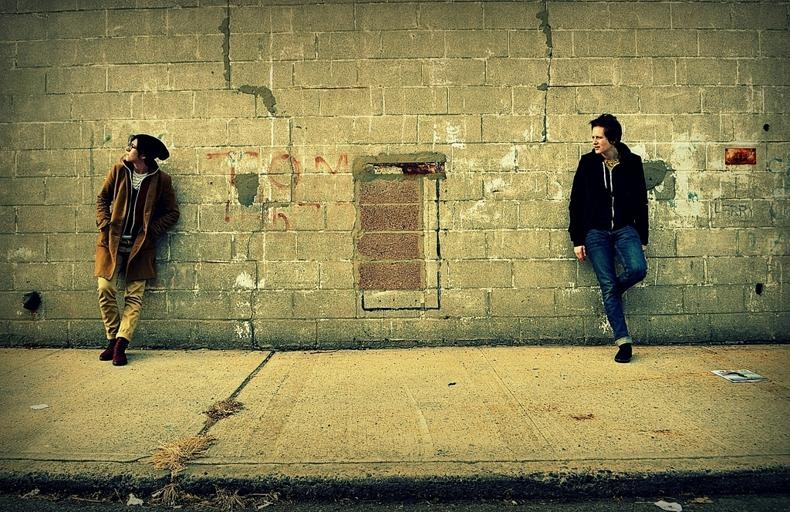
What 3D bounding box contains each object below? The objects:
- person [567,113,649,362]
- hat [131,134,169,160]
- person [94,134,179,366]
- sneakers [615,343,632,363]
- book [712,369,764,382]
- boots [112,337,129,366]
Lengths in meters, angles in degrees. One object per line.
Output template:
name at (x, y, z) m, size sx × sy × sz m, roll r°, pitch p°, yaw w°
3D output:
person at (2.504, -0.214, 11.174) m, size 0.907 × 2.874 × 0.399 m, roll -1°, pitch 2°, yaw 14°
hat at (-2.922, -1.296, 11.251) m, size 0.356 × 0.131 × 0.329 m, roll 12°, pitch -19°, yaw 29°
person at (-3.097, -0.085, 11.250) m, size 0.924 × 2.658 × 0.367 m, roll -3°, pitch 3°, yaw -20°
sneakers at (2.605, 1.130, 11.030) m, size 0.297 × 0.198 × 0.120 m, roll -3°, pitch 2°, yaw -29°
book at (3.867, 1.336, 10.671) m, size 0.501 × 0.087 × 0.304 m, roll -2°, pitch 4°, yaw -7°
boots at (-3.254, 1.108, 11.148) m, size 0.185 × 0.325 × 0.250 m, roll -3°, pitch 3°, yaw -16°
